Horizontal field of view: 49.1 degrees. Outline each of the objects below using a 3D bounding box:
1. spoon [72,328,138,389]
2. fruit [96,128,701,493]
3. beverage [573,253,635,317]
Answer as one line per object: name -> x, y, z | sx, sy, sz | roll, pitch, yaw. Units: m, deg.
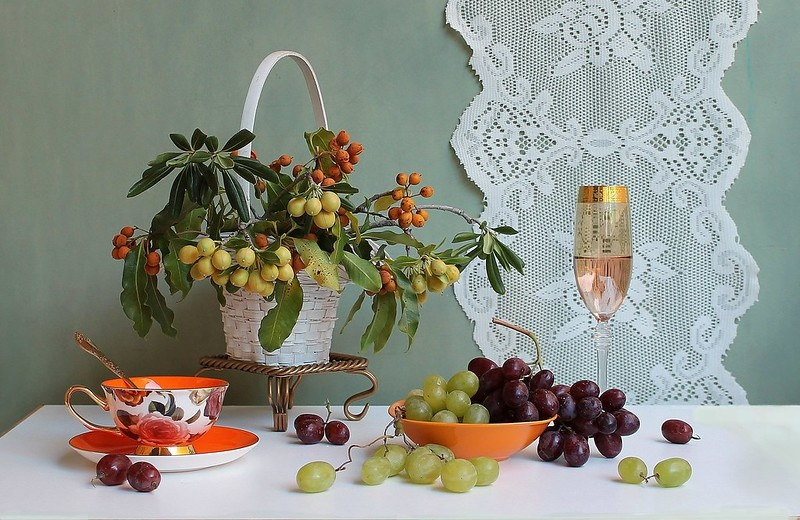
spoon -> -0.700, 0.229, 2.092 | 0.218, 0.029, 0.030 | 49, -20, -13
fruit -> -0.050, 0.087, 1.760 | 1.039, 0.670, 0.394 | 8, 6, 13
beverage -> 0.422, 0.055, 1.839 | 0.121, 0.195, 0.123 | 0, -5, -2
